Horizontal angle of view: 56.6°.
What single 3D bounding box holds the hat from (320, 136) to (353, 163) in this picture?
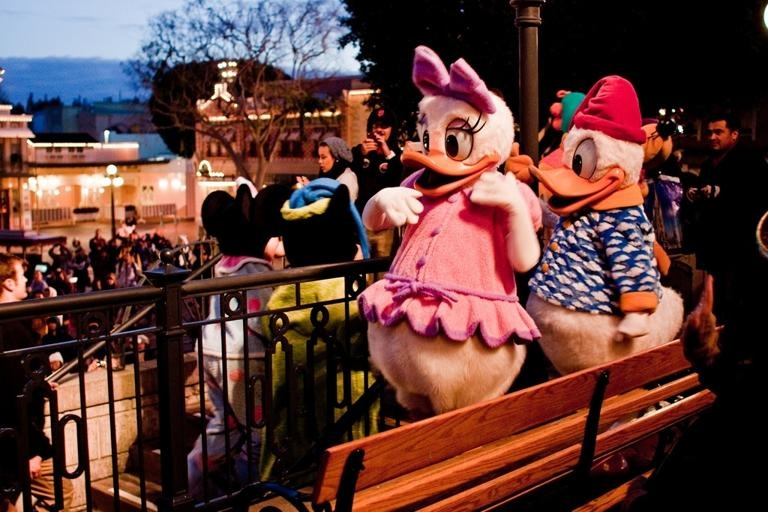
[{"bbox_3d":[-0.444,-0.961,6.498,0.274,0.251,0.272,-3,4,6],"label":"hat"}]
